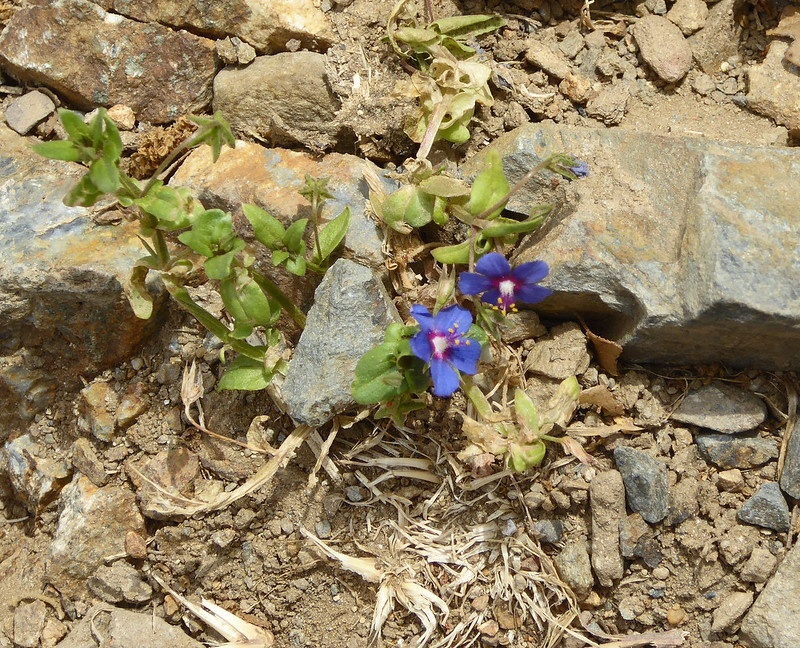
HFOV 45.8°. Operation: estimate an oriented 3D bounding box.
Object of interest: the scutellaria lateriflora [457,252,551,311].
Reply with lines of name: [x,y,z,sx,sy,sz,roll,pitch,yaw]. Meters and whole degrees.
scutellaria lateriflora: [0.435,-0.182,3.840,0.395,0.393,0.104,-10,67,41]
